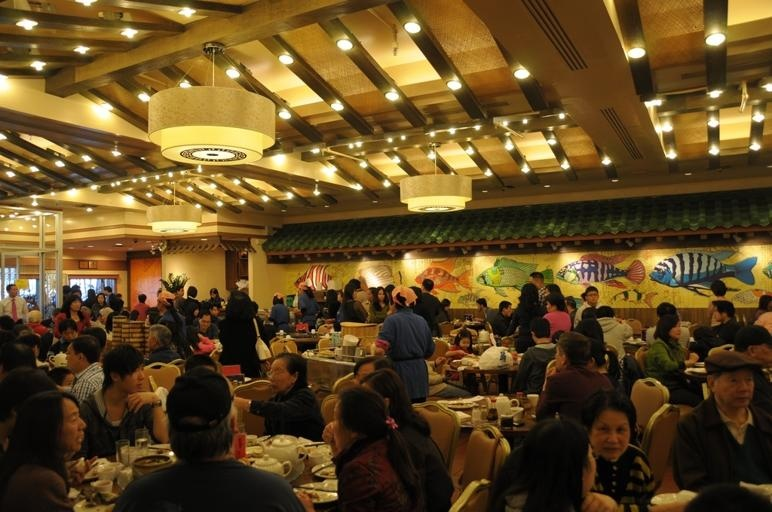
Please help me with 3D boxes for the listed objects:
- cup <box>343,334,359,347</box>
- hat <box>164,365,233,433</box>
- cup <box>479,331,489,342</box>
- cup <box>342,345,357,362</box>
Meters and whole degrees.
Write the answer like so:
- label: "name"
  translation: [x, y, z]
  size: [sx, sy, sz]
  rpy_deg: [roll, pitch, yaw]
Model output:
- label: "cup"
  translation: [-0.492, 1.166, 7.798]
  size: [0.171, 0.104, 0.165]
  rpy_deg: [3, 2, 0]
- label: "hat"
  translation: [-0.922, 0.690, 2.803]
  size: [0.259, 0.154, 0.311]
  rpy_deg: [1, 27, 1]
- label: "cup"
  translation: [1.633, 1.342, 9.353]
  size: [0.192, 0.159, 0.193]
  rpy_deg: [0, -5, 0]
- label: "cup"
  translation: [-0.515, 1.328, 7.716]
  size: [0.206, 0.202, 0.226]
  rpy_deg: [1, -4, 0]
